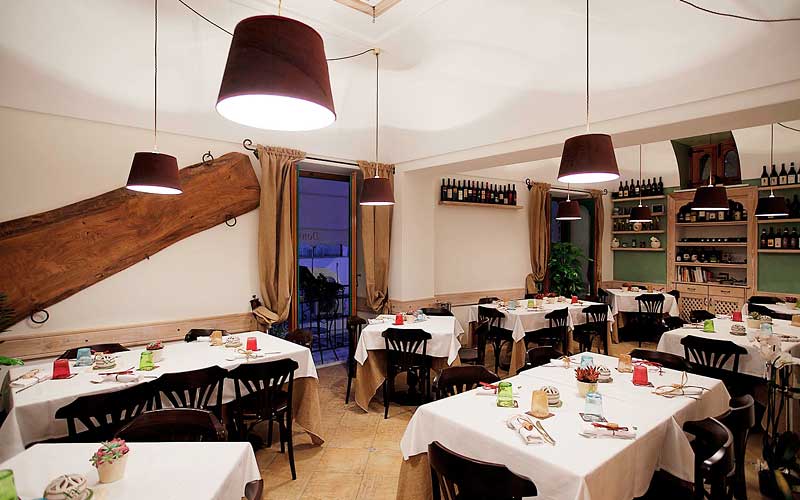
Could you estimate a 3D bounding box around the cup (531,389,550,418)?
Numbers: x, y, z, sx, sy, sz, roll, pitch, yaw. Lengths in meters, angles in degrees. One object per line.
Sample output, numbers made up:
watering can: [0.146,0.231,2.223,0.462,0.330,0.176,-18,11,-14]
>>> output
cup: [1.274,1.406,4.800,0.205,0.223,0.206,-4,-6,0]

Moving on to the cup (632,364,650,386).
cup: [2.384,1.246,5.147,0.182,0.176,0.171,-2,6,0]

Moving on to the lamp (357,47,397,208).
lamp: [-0.370,-1.671,7.428,0.405,2.095,1.434,-2,2,-4]

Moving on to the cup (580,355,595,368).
cup: [1.979,1.164,5.467,0.120,0.110,0.120,0,-6,0]

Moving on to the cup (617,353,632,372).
cup: [2.357,1.172,5.430,0.155,0.171,0.126,-1,2,19]

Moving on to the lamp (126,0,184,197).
lamp: [-2.812,-1.765,5.972,0.505,2.253,1.119,-3,2,-18]

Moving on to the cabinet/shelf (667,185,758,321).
cabinet/shelf: [5.902,0.247,9.866,1.289,2.666,0.409,3,13,36]

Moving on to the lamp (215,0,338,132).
lamp: [-0.932,-1.308,4.189,0.945,0.649,0.954,3,-3,3]

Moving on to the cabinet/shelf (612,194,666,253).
cabinet/shelf: [4.980,-0.552,10.707,0.354,1.141,1.210,4,-6,-40]

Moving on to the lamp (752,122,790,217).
lamp: [6.007,-1.320,8.408,0.436,1.576,1.748,0,2,37]

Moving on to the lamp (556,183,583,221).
lamp: [2.959,-0.979,9.135,0.310,0.723,0.320,-13,-7,-12]

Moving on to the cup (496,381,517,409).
cup: [1.012,1.351,4.936,0.188,0.208,0.275,-2,2,11]

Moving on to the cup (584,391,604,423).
cup: [1.748,1.394,4.661,0.172,0.220,0.279,-1,2,19]

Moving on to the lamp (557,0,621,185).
lamp: [2.008,-1.761,5.617,0.552,2.086,1.276,-1,2,19]
